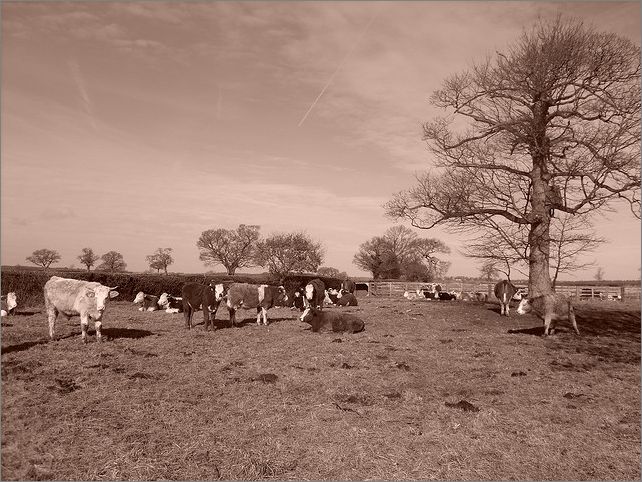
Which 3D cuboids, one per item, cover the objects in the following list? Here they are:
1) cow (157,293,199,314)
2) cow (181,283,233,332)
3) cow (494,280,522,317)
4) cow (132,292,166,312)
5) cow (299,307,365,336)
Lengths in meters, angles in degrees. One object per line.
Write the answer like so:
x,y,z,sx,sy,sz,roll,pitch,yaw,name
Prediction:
-6.939,3.004,23.208,1.079,1.264,2.764,1,-12,-7,cow
-4.754,2.639,19.430,1.522,1.928,1.631,-5,14,-25,cow
9.560,2.853,24.591,0.707,1.949,1.896,3,13,10,cow
-9.525,3.441,27.233,0.919,1.303,2.623,-1,-8,14,cow
0.476,3.213,19.460,2.594,0.994,0.969,5,-4,5,cow
